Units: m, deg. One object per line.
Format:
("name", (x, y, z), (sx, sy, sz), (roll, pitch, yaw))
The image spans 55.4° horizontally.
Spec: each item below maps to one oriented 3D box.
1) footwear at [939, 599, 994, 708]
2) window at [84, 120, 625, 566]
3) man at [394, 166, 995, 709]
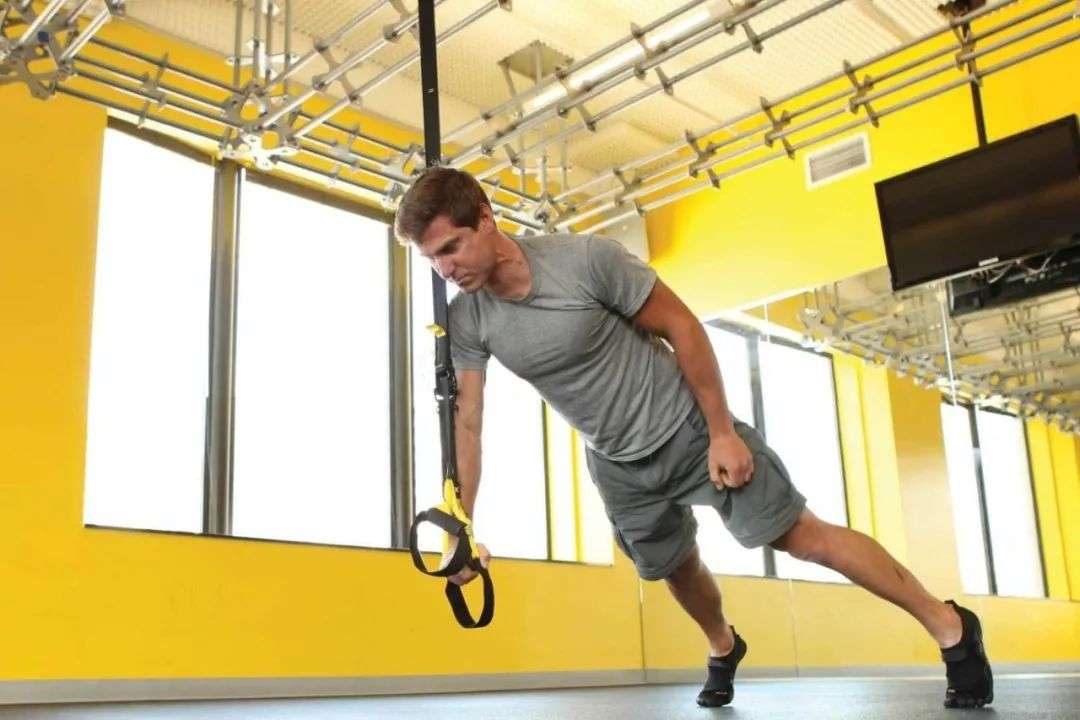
("footwear", (1.512, 1.046, 3.695), (0.161, 0.368, 0.166), (-11, -12, 25))
("window", (-1.141, -0.123, 5.347), (2.981, 1.598, 0.055), (10, -19, -44))
("man", (0.517, 0.321, 4.022), (2.049, 2.203, 1.174), (-12, -3, 10))
